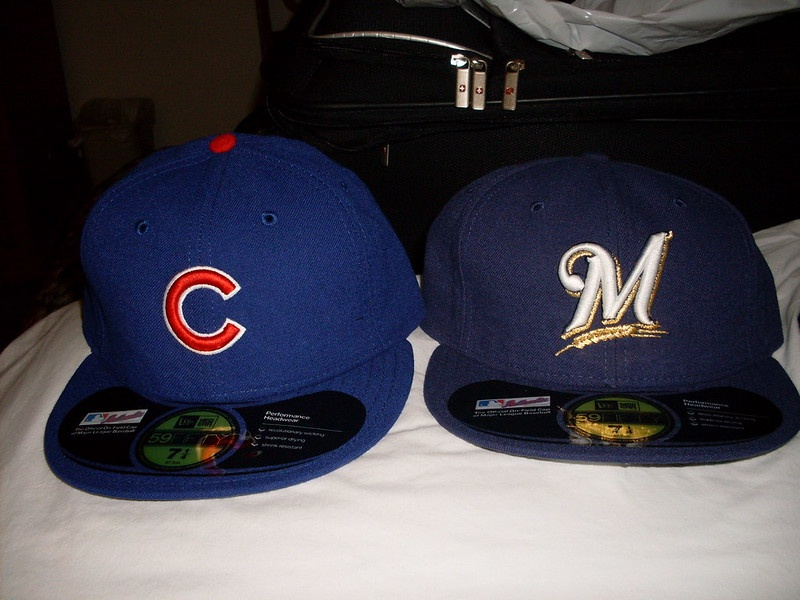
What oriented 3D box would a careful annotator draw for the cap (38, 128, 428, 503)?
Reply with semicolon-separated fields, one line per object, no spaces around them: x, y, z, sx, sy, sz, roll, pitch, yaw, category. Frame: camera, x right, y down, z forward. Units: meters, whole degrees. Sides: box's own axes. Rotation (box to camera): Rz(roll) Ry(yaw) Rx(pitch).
-0.272;-0.034;1.133;0.609;0.340;0.689;-1;36;-4;cap
